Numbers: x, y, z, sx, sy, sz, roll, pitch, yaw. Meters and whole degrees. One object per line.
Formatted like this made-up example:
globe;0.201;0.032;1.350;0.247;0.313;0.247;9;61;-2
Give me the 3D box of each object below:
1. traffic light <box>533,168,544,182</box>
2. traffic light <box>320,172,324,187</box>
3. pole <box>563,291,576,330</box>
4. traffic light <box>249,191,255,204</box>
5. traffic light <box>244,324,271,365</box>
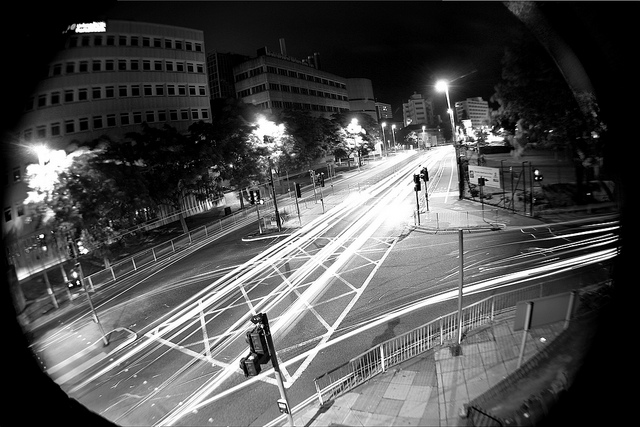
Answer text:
traffic light;17.448;-3.091;35.166;0.481;1.038;1.201;-2;12;31
traffic light;0.101;-3.727;47.025;0.333;1.223;0.965;-10;10;-6
pole;10.531;4.013;18.441;0.448;1.833;0.751;-3;12;29
traffic light;-6.042;-1.453;38.689;0.337;1.082;0.439;-10;10;-8
traffic light;-2.565;5.331;17.979;0.732;1.557;0.571;-12;11;-17
